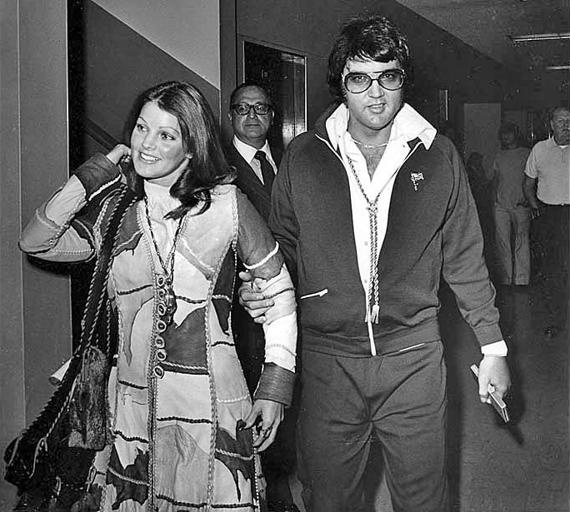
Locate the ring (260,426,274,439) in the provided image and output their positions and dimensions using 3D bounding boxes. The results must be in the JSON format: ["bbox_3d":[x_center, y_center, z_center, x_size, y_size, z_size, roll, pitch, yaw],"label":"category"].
[{"bbox_3d":[-0.055,0.562,2.012,0.022,0.047,0.025,-21,55,-45],"label":"ring"}]

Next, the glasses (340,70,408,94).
[{"bbox_3d":[0.316,-0.615,2.209,0.207,0.080,0.052,-2,6,4],"label":"glasses"}]

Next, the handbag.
[{"bbox_3d":[-0.706,0.559,2.068,0.314,0.502,0.230,13,11,38],"label":"handbag"}]
